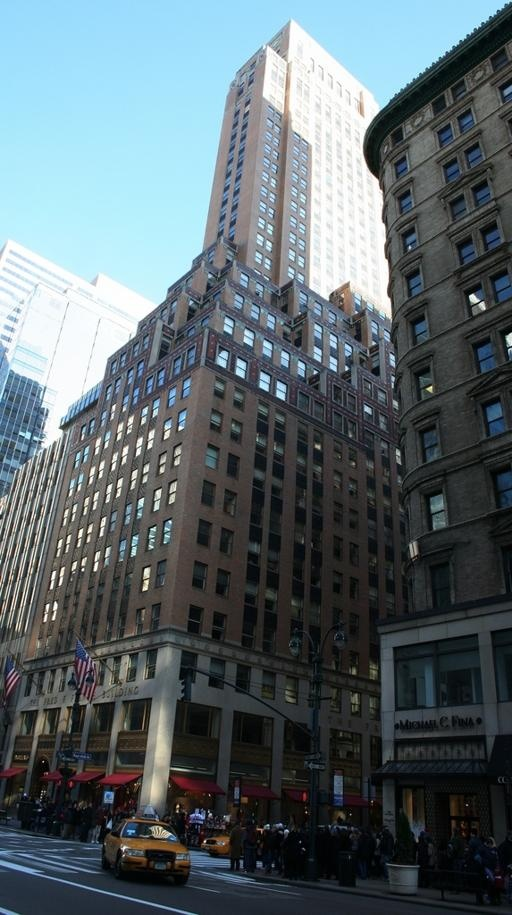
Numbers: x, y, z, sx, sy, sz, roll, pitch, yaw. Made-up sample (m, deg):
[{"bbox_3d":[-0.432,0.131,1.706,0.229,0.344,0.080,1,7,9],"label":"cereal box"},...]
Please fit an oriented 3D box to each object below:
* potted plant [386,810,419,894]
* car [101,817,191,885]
[{"bbox_3d":[3.710,9.839,14.891,0.616,1.733,0.649,-9,-31,22],"label":"potted plant"},{"bbox_3d":[-2.424,8.250,12.867,1.219,0.980,2.831,17,-37,-9],"label":"car"}]
